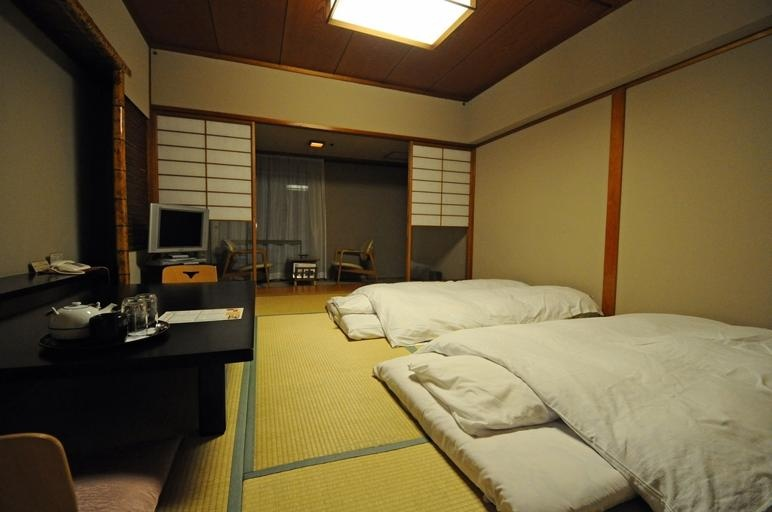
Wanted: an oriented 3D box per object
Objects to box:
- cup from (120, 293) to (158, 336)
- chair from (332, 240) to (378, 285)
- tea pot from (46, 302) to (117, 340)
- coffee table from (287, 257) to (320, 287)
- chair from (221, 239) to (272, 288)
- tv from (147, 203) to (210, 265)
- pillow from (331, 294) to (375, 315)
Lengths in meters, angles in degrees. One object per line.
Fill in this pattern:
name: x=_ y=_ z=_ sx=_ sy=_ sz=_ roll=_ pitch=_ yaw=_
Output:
cup: x=-1.503 y=0.361 z=3.110 sx=0.221 sy=0.242 sz=0.206 roll=0 pitch=3 yaw=0
chair: x=-0.562 y=0.068 z=8.646 sx=0.836 sy=0.752 sz=0.703 roll=2 pitch=-1 yaw=-33
tea pot: x=-1.812 y=0.377 z=2.998 sx=0.309 sy=0.167 sz=0.218 roll=1 pitch=4 yaw=-10
coffee table: x=-1.326 y=0.257 z=8.177 sx=0.357 sy=0.366 sz=0.585 roll=0 pitch=-2 yaw=-21
chair: x=-2.172 y=0.145 z=7.732 sx=0.791 sy=0.737 sz=0.677 roll=-2 pitch=4 yaw=-29
tv: x=-2.258 y=-0.260 z=5.490 sx=0.179 sy=0.585 sz=0.763 roll=7 pitch=4 yaw=26
pillow: x=-0.301 y=0.478 z=4.829 sx=0.265 sy=0.081 sz=0.238 roll=-2 pitch=9 yaw=-18
